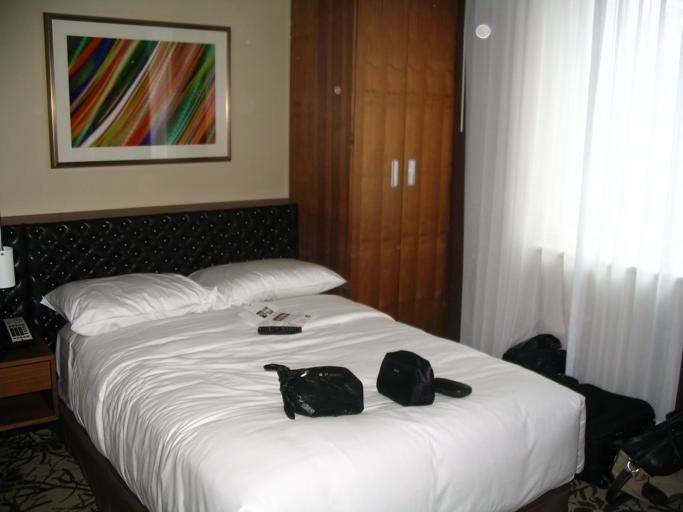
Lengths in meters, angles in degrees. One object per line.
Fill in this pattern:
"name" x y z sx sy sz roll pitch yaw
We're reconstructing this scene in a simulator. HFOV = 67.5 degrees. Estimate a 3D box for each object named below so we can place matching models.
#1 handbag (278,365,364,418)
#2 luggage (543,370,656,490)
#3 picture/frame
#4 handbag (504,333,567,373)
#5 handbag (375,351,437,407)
"handbag" -0.080 0.617 2.298 0.255 0.087 0.199 -2 26 -14
"luggage" 1.597 0.981 3.061 0.529 0.251 0.527 -13 19 -34
"picture/frame" -1.505 -1.220 3.650 1.152 0.945 0.040 -4 9 -33
"handbag" 1.431 0.720 3.707 0.269 0.099 0.310 9 14 43
"handbag" 0.293 0.507 2.365 0.201 0.212 0.278 -2 6 -28
